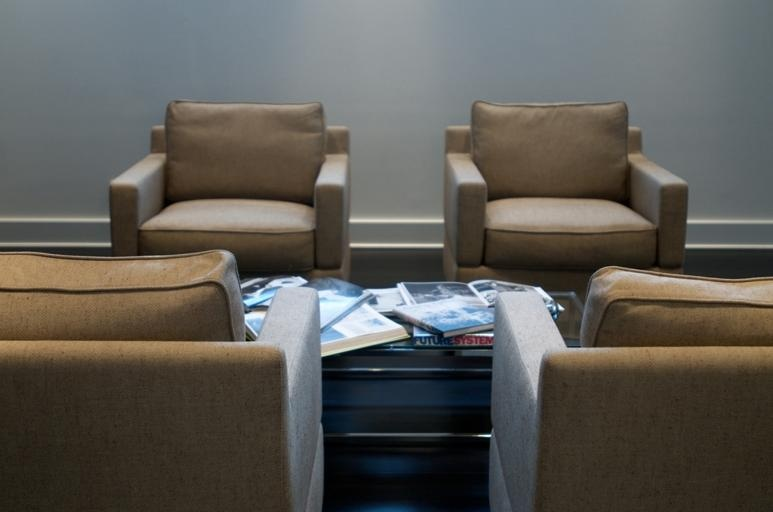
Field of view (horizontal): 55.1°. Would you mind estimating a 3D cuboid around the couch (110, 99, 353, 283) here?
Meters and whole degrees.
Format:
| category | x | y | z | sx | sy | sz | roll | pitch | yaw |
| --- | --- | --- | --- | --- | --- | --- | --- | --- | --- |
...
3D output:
| category | x | y | z | sx | sy | sz | roll | pitch | yaw |
| --- | --- | --- | --- | --- | --- | --- | --- | --- | --- |
| couch | -0.734 | -0.223 | 3.770 | 1.215 | 1.042 | 0.908 | -2 | 17 | -11 |
